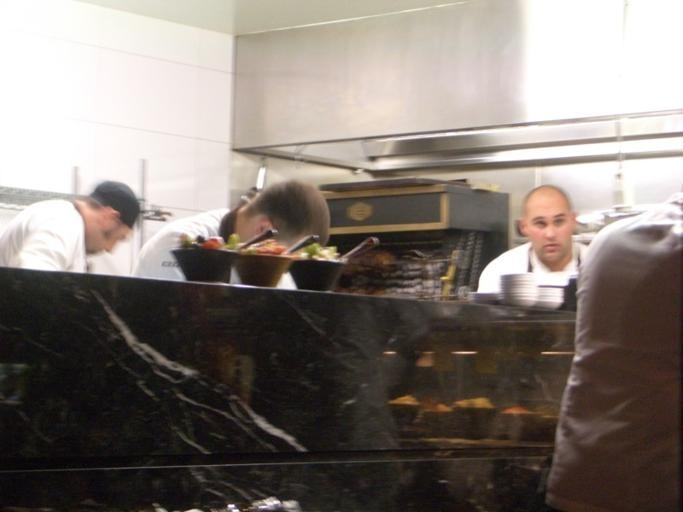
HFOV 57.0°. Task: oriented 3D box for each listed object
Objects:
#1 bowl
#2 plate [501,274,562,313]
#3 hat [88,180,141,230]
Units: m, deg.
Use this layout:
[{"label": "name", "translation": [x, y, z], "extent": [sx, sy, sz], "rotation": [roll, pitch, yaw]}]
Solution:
[{"label": "bowl", "translation": [-0.167, 0.030, 1.333], "extent": [0.352, 0.104, 0.085], "rotation": [-3, 4, -28]}, {"label": "plate", "translation": [0.453, 0.088, 1.516], "extent": [0.141, 0.057, 0.080], "rotation": [4, -6, -6]}, {"label": "hat", "translation": [-0.884, -0.218, 2.554], "extent": [0.212, 0.163, 0.152], "rotation": [34, -1, -30]}]
